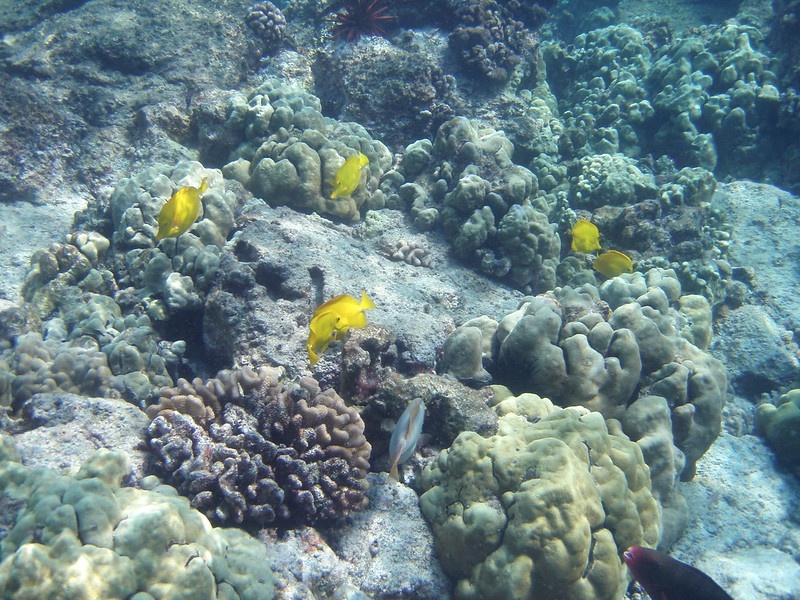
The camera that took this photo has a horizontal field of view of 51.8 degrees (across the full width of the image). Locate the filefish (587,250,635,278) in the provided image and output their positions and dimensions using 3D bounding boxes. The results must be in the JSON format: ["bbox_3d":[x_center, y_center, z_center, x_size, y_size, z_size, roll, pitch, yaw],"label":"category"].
[{"bbox_3d":[3.361,-0.573,12.964,0.555,0.518,0.456,26,24,13],"label":"filefish"}]

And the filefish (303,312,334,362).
[{"bbox_3d":[-1.049,0.464,10.677,0.309,0.624,0.453,27,24,20],"label":"filefish"}]

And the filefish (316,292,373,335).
[{"bbox_3d":[-0.745,0.184,10.964,0.726,0.448,0.218,-31,10,-13],"label":"filefish"}]

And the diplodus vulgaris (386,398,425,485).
[{"bbox_3d":[0.037,1.803,10.713,0.317,1.149,0.512,25,24,19],"label":"diplodus vulgaris"}]
